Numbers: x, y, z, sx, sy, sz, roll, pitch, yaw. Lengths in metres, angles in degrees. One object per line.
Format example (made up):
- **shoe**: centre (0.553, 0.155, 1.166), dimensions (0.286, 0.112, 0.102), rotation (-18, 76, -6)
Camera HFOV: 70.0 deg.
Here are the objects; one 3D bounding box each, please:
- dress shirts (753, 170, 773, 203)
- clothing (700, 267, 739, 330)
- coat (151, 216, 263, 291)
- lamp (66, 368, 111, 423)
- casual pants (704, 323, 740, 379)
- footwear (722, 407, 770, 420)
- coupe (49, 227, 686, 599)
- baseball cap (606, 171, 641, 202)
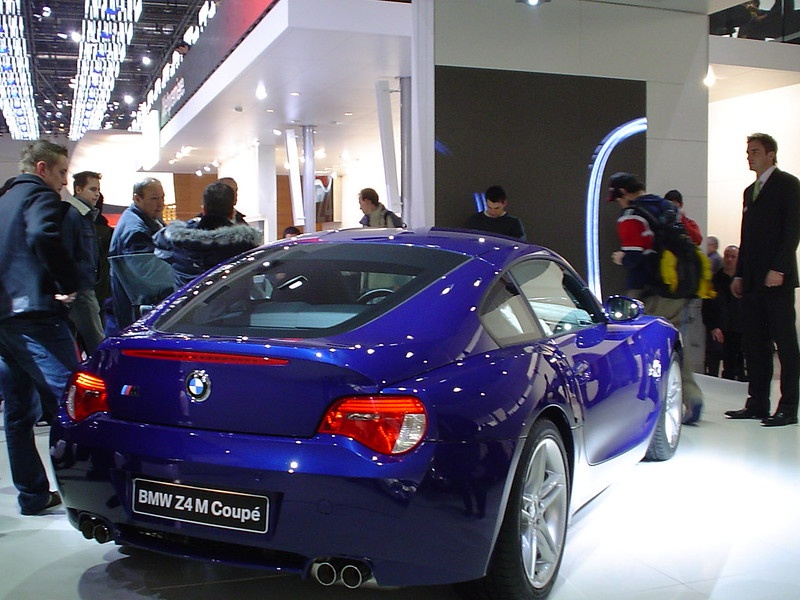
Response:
- **dress shirts**: centre (3.232, -1.013, 5.099), dimensions (0.092, 0.236, 0.178), rotation (42, 16, 28)
- **clothing**: centre (4.162, -0.008, 7.390), dimensions (0.347, 0.721, 0.552), rotation (7, -2, -21)
- **coat**: centre (-1.314, -0.345, 3.826), dimensions (0.517, 0.234, 0.600), rotation (-11, 8, 7)
- **lamp**: centre (-1.098, 0.354, 2.054), dimensions (0.135, 0.104, 0.223), rotation (0, -1, 2)
- **casual pants**: centre (4.357, 0.678, 7.721), dimensions (0.538, 0.825, 0.462), rotation (3, -32, 26)
- **footwear**: centre (3.136, 1.036, 5.184), dimensions (0.369, 0.136, 0.128), rotation (3, 2, 11)
- **coupe**: centre (0.237, 0.312, 2.501), dimensions (1.321, 0.744, 2.349), rotation (3, 8, 31)
- **baseball cap**: centre (1.932, -0.984, 5.007), dimensions (0.210, 0.149, 0.290), rotation (-48, 32, -19)
